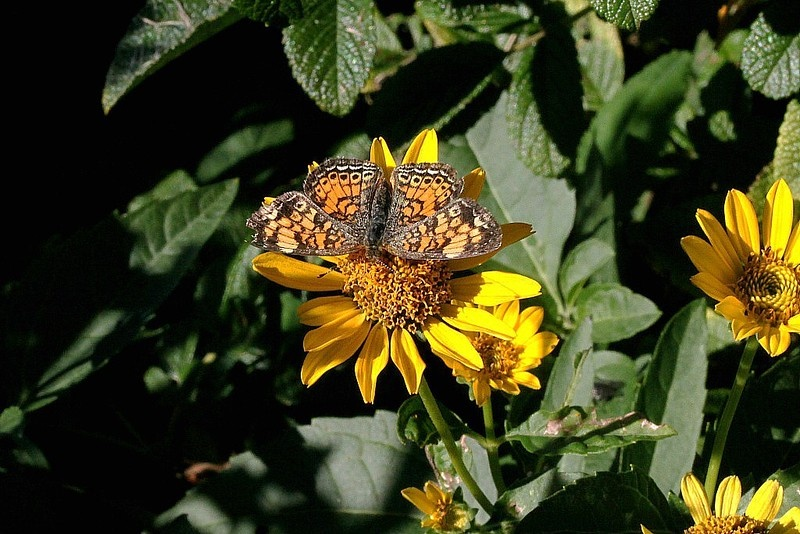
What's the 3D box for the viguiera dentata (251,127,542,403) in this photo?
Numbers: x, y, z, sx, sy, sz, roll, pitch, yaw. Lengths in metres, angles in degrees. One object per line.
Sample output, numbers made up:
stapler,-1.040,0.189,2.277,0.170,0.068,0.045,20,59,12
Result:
viguiera dentata,0.015,0.145,2.563,0.814,0.966,0.608,-17,35,-12
